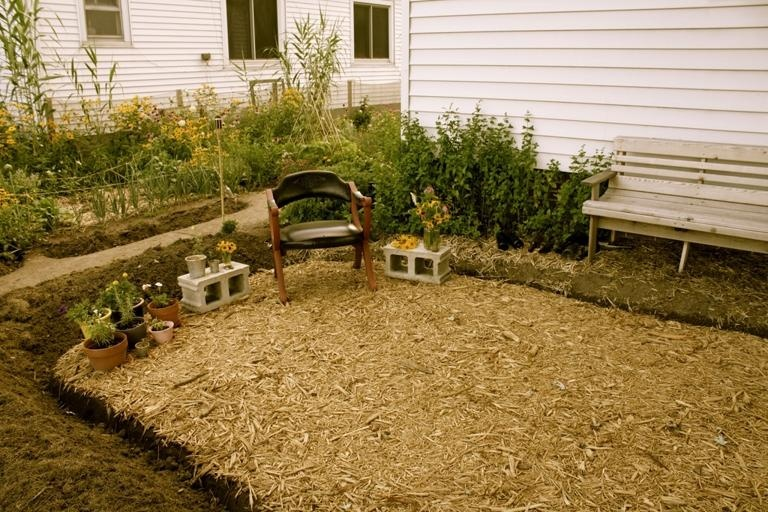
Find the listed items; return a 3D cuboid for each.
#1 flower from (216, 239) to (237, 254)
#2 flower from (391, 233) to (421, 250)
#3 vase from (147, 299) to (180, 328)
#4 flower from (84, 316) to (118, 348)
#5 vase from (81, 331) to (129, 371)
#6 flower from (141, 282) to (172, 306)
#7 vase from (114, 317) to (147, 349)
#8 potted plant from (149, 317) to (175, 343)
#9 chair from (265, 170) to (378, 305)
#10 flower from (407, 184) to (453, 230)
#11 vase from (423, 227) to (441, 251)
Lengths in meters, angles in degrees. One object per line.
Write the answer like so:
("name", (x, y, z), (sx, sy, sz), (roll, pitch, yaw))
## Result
("flower", (-1.699, -0.110, 5.840), (0.225, 0.089, 0.169), (6, -14, 15))
("flower", (0.247, -0.164, 5.959), (0.316, 0.130, 0.200), (-2, 21, -7))
("vase", (-2.037, 0.501, 5.114), (0.275, 0.184, 0.265), (-12, 21, -39))
("flower", (-2.386, 0.643, 4.690), (0.304, 0.271, 0.261), (5, 9, -2))
("vase", (-2.345, 0.836, 4.614), (0.354, 0.205, 0.336), (-9, 14, -31))
("flower", (-2.214, 0.329, 5.290), (0.241, 0.169, 0.367), (-6, 11, -24))
("vase", (-2.237, 0.664, 4.855), (0.283, 0.202, 0.286), (12, 19, 35))
("potted plant", (-2.007, 0.672, 4.926), (0.211, 0.169, 0.208), (0, 3, -2))
("chair", (-0.693, -0.266, 5.750), (1.113, 1.108, 0.825), (-11, 24, -22))
("flower", (0.493, -0.561, 6.012), (0.388, 0.404, 0.361), (9, 8, -16))
("vase", (0.524, -0.207, 5.867), (0.169, 0.245, 0.201), (1, 21, 2))
